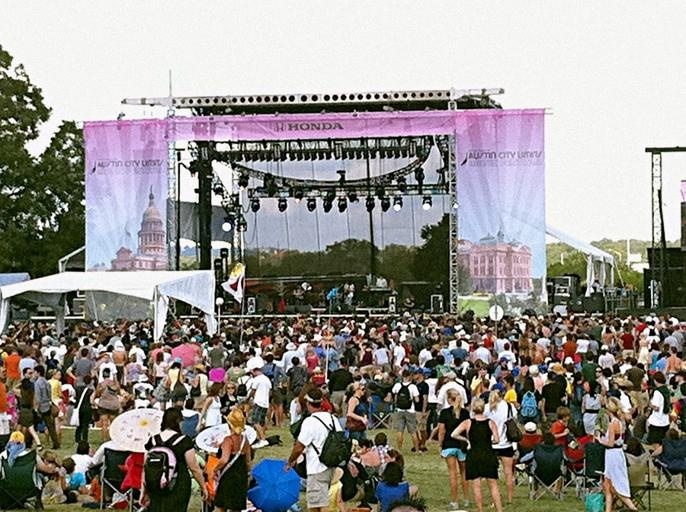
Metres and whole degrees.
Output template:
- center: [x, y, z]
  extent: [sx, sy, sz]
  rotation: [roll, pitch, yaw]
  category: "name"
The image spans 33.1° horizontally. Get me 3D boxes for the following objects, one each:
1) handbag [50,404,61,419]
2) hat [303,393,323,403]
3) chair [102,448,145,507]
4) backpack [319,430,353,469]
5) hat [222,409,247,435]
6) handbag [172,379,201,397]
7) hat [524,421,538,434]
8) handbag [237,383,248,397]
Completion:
- center: [-6.335, 3.417, 25.466]
  extent: [0.215, 0.397, 0.212]
  rotation: [5, 6, 44]
  category: "handbag"
- center: [-0.497, 2.412, 19.654]
  extent: [0.280, 0.172, 0.339]
  rotation: [2, -5, 1]
  category: "hat"
- center: [-4.167, 4.187, 21.644]
  extent: [0.786, 1.711, 1.080]
  rotation: [2, -2, -11]
  category: "chair"
- center: [-0.091, 3.299, 19.788]
  extent: [0.363, 0.727, 0.668]
  rotation: [0, -13, 35]
  category: "backpack"
- center: [-1.787, 2.708, 19.383]
  extent: [0.260, 0.411, 0.357]
  rotation: [-1, -43, -9]
  category: "hat"
- center: [-3.376, 2.908, 25.132]
  extent: [0.474, 0.358, 0.523]
  rotation: [5, 0, 6]
  category: "handbag"
- center: [3.742, 3.436, 22.992]
  extent: [0.199, 0.136, 0.312]
  rotation: [0, 3, 6]
  category: "hat"
- center: [-2.129, 2.806, 24.110]
  extent: [0.183, 0.303, 0.261]
  rotation: [3, -4, 13]
  category: "handbag"
